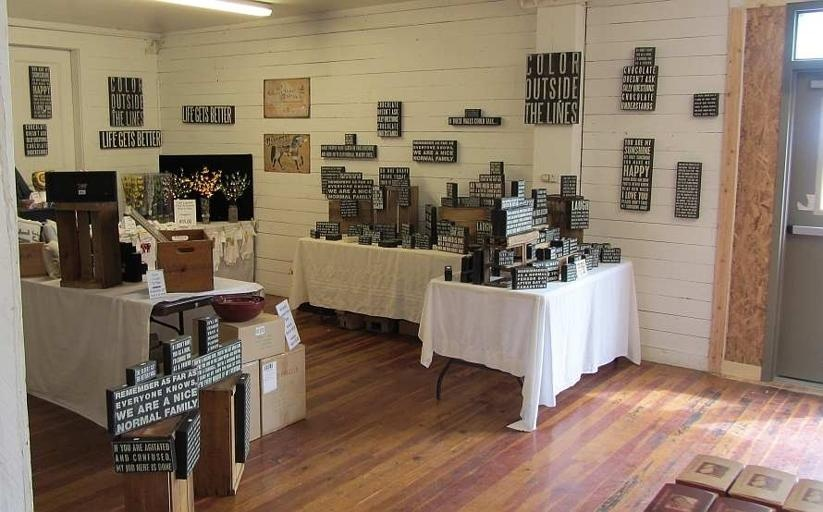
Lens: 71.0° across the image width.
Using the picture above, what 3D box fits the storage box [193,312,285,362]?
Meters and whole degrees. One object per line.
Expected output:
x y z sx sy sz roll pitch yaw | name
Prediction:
-1.427 0.664 5.050 0.559 0.340 0.547 -4 6 -31 | storage box

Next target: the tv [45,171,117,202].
-2.819 -0.593 4.938 0.629 0.274 0.112 -3 12 0 | tv

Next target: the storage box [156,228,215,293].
-1.906 0.075 5.186 0.657 0.429 0.636 -5 1 -30 | storage box

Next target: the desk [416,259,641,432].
1.367 0.739 6.207 1.429 1.116 2.335 8 11 42 | desk

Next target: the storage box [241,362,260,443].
-1.354 1.254 4.989 0.076 0.711 0.165 1 12 19 | storage box

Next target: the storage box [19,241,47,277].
-3.501 0.023 5.367 0.280 0.271 0.280 8 -8 -15 | storage box

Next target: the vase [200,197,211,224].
-3.160 -0.736 8.946 0.138 0.369 0.383 -7 12 -20 | vase

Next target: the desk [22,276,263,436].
-2.677 0.718 5.368 1.599 0.893 1.635 3 5 36 | desk

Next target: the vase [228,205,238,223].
-2.772 -0.677 9.043 0.139 0.255 0.151 -8 13 -23 | vase
